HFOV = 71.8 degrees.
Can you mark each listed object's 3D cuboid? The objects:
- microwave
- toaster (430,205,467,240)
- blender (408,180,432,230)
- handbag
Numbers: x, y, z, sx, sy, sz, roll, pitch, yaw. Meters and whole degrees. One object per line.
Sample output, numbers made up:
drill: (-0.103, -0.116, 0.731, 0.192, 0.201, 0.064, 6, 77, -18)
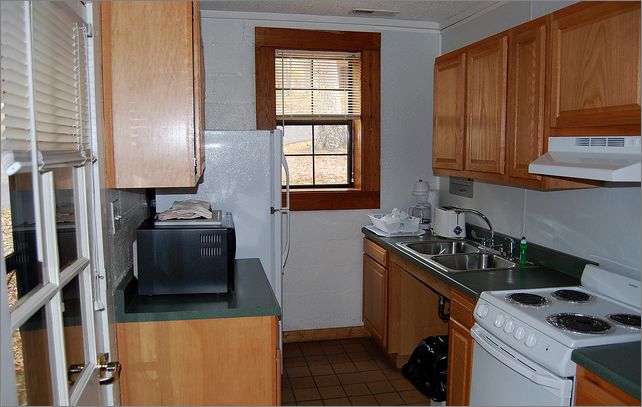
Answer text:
microwave: (-0.799, 0.277, 2.586, 0.485, 0.288, 0.435, -1, 4, -14)
toaster: (1.129, 0.126, 3.866, 0.304, 0.223, 0.171, -2, -1, -30)
blender: (0.980, -0.005, 4.276, 0.260, 0.466, 0.261, -3, 8, -4)
handbag: (0.831, 1.205, 3.255, 0.292, 0.391, 0.466, -5, 8, -21)
